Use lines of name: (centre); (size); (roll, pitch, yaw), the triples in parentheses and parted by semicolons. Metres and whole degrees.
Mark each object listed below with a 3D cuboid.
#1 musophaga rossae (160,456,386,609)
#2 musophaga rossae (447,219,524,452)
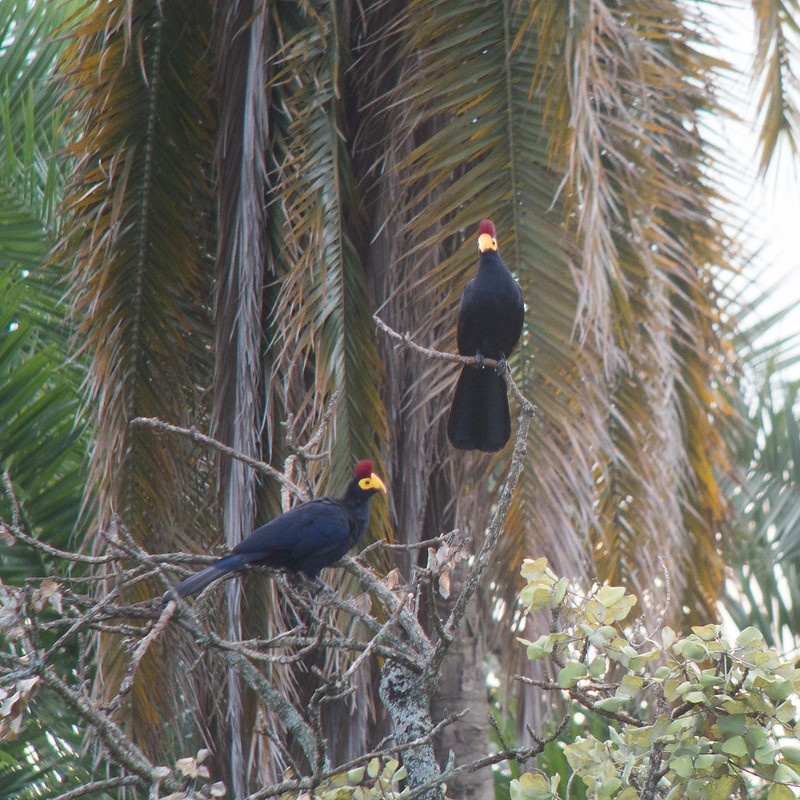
musophaga rossae: (-0.474, 0.569, 8.598); (0.891, 0.747, 0.298); (17, -26, -32)
musophaga rossae: (0.402, -0.224, 9.335); (0.273, 1.251, 0.624); (2, 13, -3)
